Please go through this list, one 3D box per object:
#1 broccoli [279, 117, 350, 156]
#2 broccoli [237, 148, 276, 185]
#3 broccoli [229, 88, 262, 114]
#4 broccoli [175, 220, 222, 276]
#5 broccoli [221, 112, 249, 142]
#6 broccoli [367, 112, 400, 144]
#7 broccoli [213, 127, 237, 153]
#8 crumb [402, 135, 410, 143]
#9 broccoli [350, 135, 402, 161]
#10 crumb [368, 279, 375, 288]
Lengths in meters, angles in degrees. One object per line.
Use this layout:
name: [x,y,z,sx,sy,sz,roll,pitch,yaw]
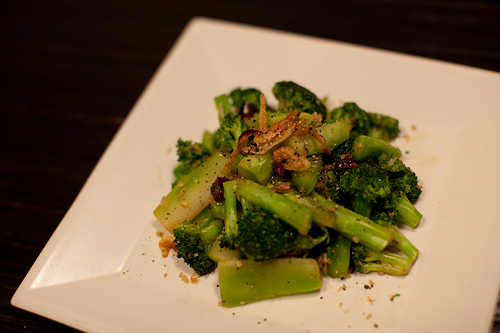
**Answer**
broccoli: [0.524,-0.217,3.544,0.577,0.145,0.198,-17,57,-17]
broccoli: [0.054,-0.016,3.602,0.236,0.252,0.336,21,29,27]
broccoli: [-0.053,-0.614,4.085,0.283,0.118,0.198,6,54,-3]
broccoli: [-0.417,0.632,3.604,0.382,0.202,0.393,-41,107,-24]
broccoli: [-0.133,-0.369,3.872,0.207,0.108,0.224,-16,68,-12]
broccoli: [1.172,-0.350,3.889,0.223,0.088,0.266,-21,84,5]
broccoli: [-0.220,-0.234,3.854,0.139,0.073,0.223,-7,88,22]
crumb: [1.374,-0.243,3.885,0.055,0.014,0.065,-3,78,9]
broccoli: [1.039,-0.148,3.656,0.351,0.148,0.207,11,102,-11]
crumb: [0.973,0.934,3.521,0.032,0.012,0.050,-7,72,4]
